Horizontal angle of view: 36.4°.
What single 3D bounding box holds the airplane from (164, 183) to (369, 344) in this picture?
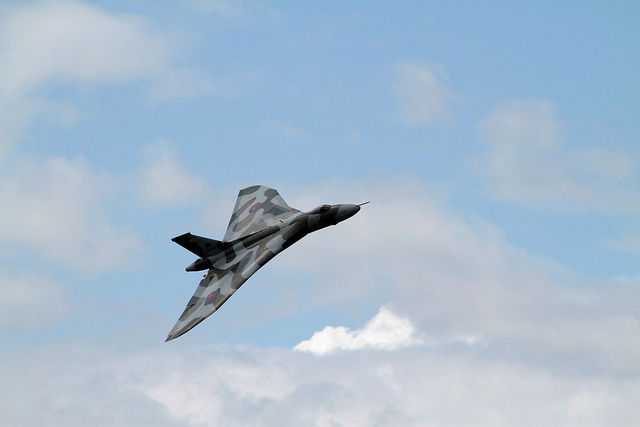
[{"bbox_3d":[-3.363,1.557,56.434,10.328,11.832,2.536,-7,-47,22],"label":"airplane"}]
